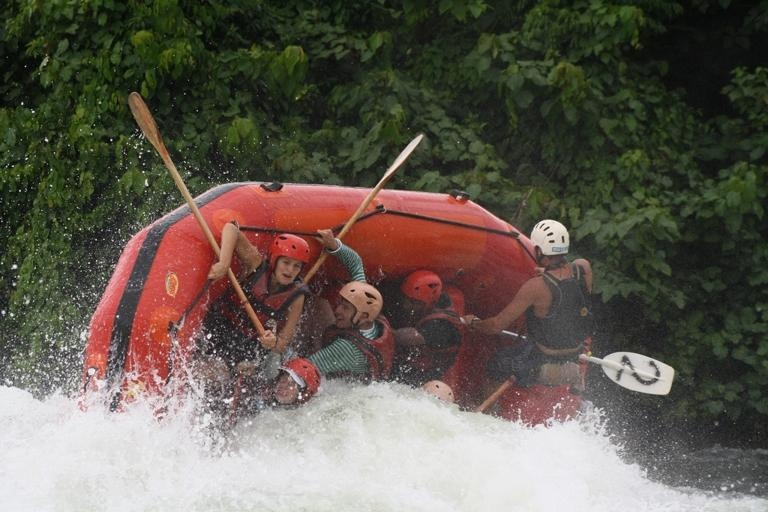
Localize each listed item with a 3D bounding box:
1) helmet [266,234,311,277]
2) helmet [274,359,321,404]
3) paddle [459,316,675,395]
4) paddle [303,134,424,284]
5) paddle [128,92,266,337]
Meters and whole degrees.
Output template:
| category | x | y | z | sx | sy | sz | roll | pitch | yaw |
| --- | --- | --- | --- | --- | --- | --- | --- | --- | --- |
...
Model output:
| category | x | y | z | sx | sy | sz | roll | pitch | yaw |
| --- | --- | --- | --- | --- | --- | --- | --- | --- | --- |
| helmet | -0.871 | -0.005 | 9.104 | 0.367 | 0.335 | 0.309 | 4 | 49 | -2 |
| helmet | -0.770 | 1.142 | 8.907 | 0.360 | 0.441 | 0.315 | -14 | 65 | -37 |
| paddle | 1.814 | 1.038 | 10.010 | 2.153 | 0.119 | 0.483 | 19 | 78 | 4 |
| paddle | -0.174 | -0.435 | 9.970 | 2.136 | 0.225 | 0.134 | -48 | 32 | -11 |
| paddle | -1.868 | -0.366 | 9.586 | 0.152 | 0.281 | 2.856 | -31 | 91 | -50 |
